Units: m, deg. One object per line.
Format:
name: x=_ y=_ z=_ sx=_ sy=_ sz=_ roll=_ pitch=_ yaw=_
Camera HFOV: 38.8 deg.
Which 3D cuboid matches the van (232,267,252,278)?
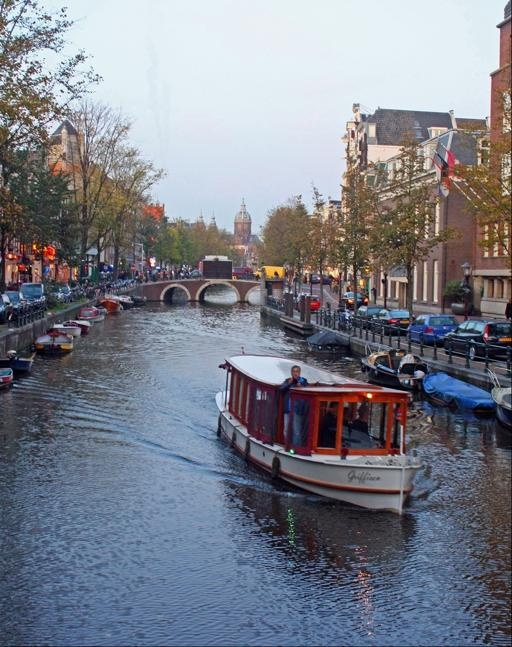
van: x=-2.376 y=-8.527 z=122.791 sx=3.333 sy=1.933 sz=1.856 roll=-1 pitch=6 yaw=6
